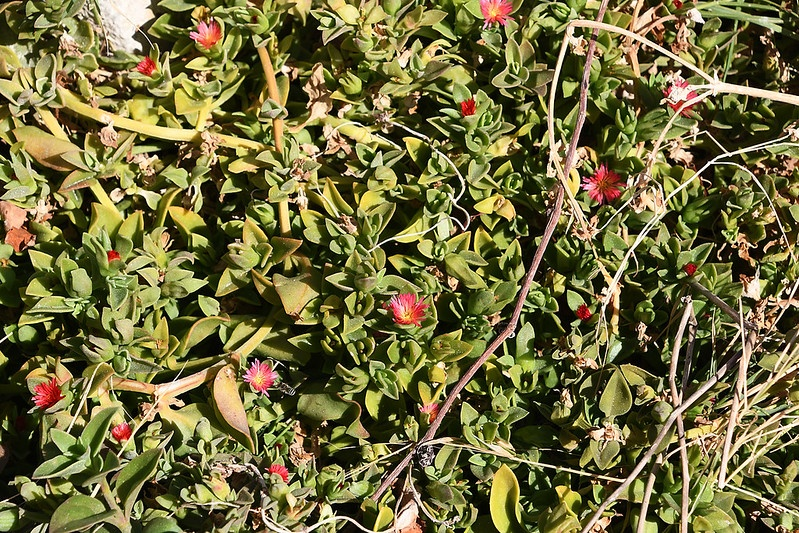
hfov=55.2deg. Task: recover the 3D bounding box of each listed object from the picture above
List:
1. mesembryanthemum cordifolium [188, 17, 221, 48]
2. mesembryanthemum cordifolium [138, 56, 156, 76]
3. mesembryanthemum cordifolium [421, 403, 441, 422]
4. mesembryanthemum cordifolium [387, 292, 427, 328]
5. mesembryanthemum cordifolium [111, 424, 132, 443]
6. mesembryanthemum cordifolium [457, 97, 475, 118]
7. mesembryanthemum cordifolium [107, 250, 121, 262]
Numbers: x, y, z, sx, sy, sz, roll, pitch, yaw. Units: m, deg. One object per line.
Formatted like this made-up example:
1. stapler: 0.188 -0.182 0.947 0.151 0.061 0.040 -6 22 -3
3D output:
1. mesembryanthemum cordifolium: -0.361 -0.436 1.421 0.058 0.044 0.063 8 35 -20
2. mesembryanthemum cordifolium: -0.474 -0.375 1.416 0.029 0.028 0.050 -8 43 -37
3. mesembryanthemum cordifolium: 0.054 0.253 1.320 0.031 0.033 0.013 34 -20 -30
4. mesembryanthemum cordifolium: 0.010 0.074 1.307 0.078 0.038 0.079 -22 9 -40
5. mesembryanthemum cordifolium: -0.473 0.282 1.298 0.031 0.032 0.011 50 1 -7
6. mesembryanthemum cordifolium: 0.122 -0.284 1.365 0.031 0.031 0.035 -18 -14 7
7. mesembryanthemum cordifolium: -0.496 -0.018 1.317 0.021 0.021 0.013 -16 32 -30
